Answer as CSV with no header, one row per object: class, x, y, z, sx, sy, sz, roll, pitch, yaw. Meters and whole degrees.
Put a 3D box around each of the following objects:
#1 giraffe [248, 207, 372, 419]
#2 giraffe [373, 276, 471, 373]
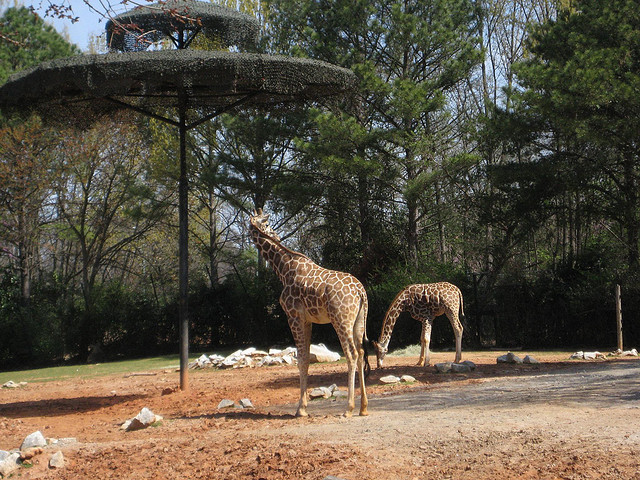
giraffe,-0.077,1.605,24.057,2.316,6.342,2.890,0,1,7
giraffe,3.875,2.727,31.976,3.887,3.778,10.057,-2,-8,4
